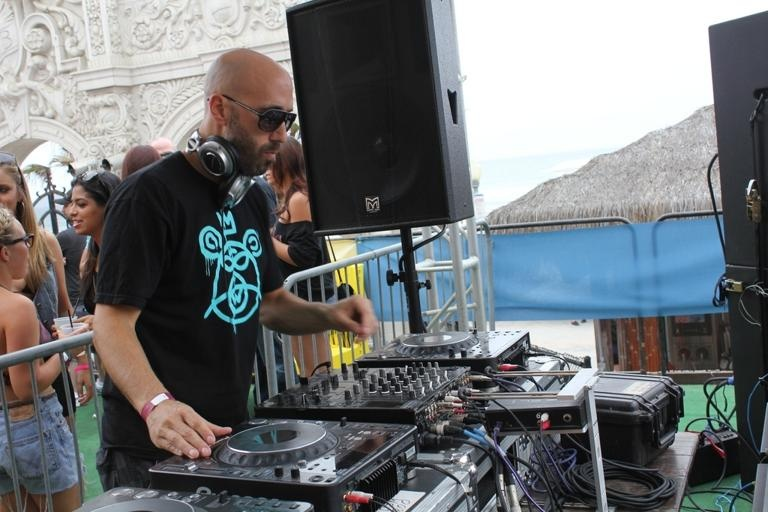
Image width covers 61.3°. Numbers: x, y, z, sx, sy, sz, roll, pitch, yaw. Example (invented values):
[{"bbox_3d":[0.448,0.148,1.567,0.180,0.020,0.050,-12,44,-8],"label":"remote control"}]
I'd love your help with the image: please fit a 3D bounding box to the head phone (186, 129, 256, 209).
[{"bbox_3d":[-0.657,-0.359,2.602,0.165,0.326,0.208,3,8,15],"label":"head phone"}]
